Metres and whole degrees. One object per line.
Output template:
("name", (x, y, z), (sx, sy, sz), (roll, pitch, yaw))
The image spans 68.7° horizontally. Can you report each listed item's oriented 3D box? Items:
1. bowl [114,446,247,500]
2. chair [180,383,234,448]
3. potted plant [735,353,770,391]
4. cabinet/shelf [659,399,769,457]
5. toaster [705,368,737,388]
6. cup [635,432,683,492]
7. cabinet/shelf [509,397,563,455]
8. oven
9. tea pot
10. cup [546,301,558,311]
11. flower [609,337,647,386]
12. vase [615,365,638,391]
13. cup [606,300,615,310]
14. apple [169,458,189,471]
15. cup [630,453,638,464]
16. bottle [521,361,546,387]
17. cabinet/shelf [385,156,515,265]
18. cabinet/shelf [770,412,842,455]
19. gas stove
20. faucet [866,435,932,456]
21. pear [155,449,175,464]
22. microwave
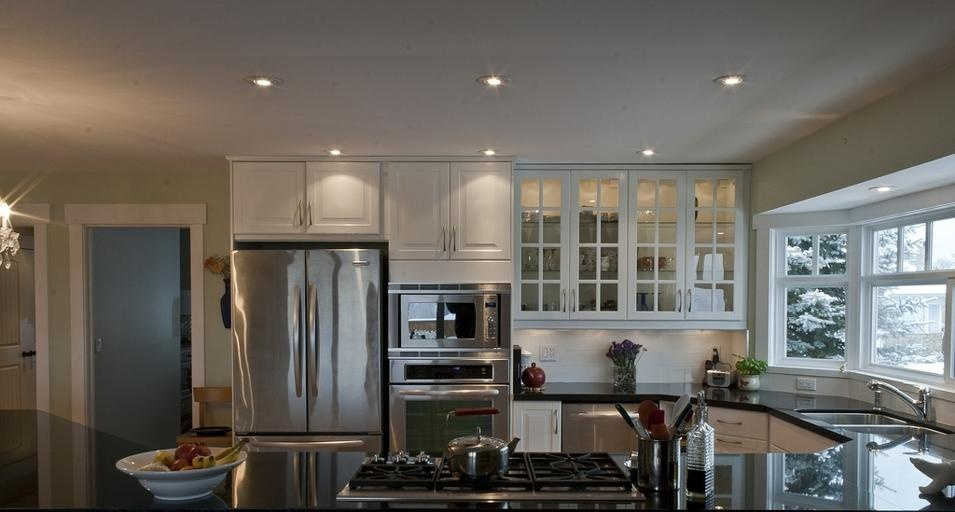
("bowl", (-1.963, 1.440, 4.513), (0.494, 0.131, 0.477), (1, -6, 0))
("chair", (-2.636, 1.586, 6.942), (0.654, 0.586, 0.594), (0, -8, -4))
("potted plant", (2.627, 1.117, 6.744), (0.322, 0.322, 0.362), (5, -5, -11))
("cabinet/shelf", (2.269, 1.570, 6.367), (0.795, 0.641, 0.520), (-2, -7, 32))
("toaster", (2.372, 1.204, 6.893), (0.195, 0.115, 0.196), (0, -2, 27))
("cup", (1.152, 1.393, 4.756), (0.393, 0.337, 0.363), (1, -5, 0))
("cabinet/shelf", (0.576, 1.599, 6.611), (0.549, 0.653, 0.490), (0, -7, -2))
("oven", (-0.378, 1.478, 6.824), (1.254, 0.955, 0.791), (3, -4, -13))
("tea pot", (-0.008, 1.281, 4.813), (0.568, 0.358, 0.399), (-1, -4, -5))
("cup", (0.731, 0.498, 6.831), (0.150, 0.094, 0.076), (1, -9, 3))
("flower", (1.452, 1.130, 7.102), (0.493, 0.488, 0.467), (1, -16, 1))
("vase", (1.468, 1.223, 6.940), (0.257, 0.254, 0.233), (1, -5, -4))
("cup", (1.323, 0.489, 6.896), (0.090, 0.077, 0.091), (0, -3, 0))
("apple", (-1.896, 1.336, 4.489), (0.087, 0.042, 0.082), (3, -3, 42))
("cup", (1.076, 1.396, 4.823), (0.066, 0.050, 0.083), (0, -2, 2))
("bottle", (0.555, 1.167, 6.830), (0.236, 0.192, 0.215), (1, -3, -2))
("cabinet/shelf", (-0.236, -0.447, 6.591), (1.233, 0.840, 0.433), (0, -1, 0))
("cabinet/shelf", (2.730, 1.501, 5.875), (0.714, 0.259, 0.078), (-3, -13, -18))
("gas stove", (0.107, 1.482, 4.684), (1.953, 0.250, 0.404), (0, -6, 1))
("faucet", (3.182, 1.409, 5.236), (0.685, 0.085, 0.305), (3, -6, -21))
("pear", (-2.026, 1.298, 4.556), (0.096, 0.084, 0.095), (-2, 8, -31))
("microwave", (-0.266, 0.576, 6.888), (1.189, 0.599, 0.660), (0, -4, 0))
